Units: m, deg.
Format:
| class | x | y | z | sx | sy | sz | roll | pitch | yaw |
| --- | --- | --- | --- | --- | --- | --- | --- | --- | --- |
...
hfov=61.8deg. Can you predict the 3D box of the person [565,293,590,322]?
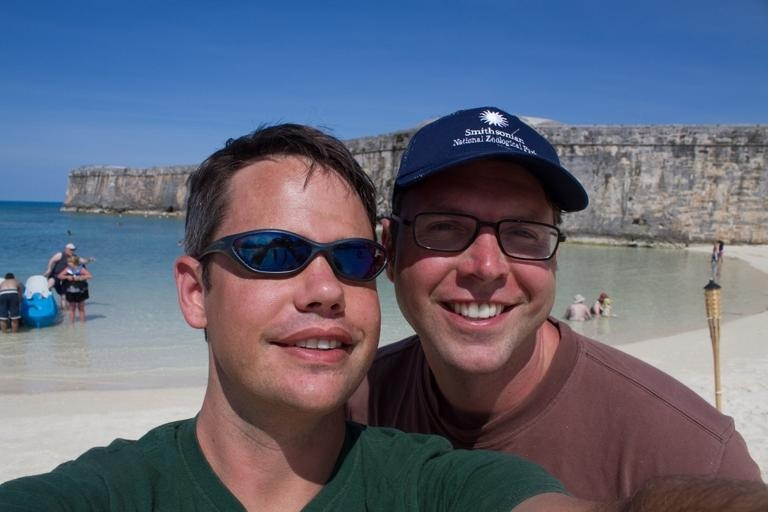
| class | x | y | z | sx | sy | sz | roll | pitch | yaw |
| --- | --- | --- | --- | --- | --- | --- | --- | --- | --- |
| person | 5.311 | 1.457 | 17.608 | 0.771 | 0.777 | 0.487 | -1 | 1 | 0 |
